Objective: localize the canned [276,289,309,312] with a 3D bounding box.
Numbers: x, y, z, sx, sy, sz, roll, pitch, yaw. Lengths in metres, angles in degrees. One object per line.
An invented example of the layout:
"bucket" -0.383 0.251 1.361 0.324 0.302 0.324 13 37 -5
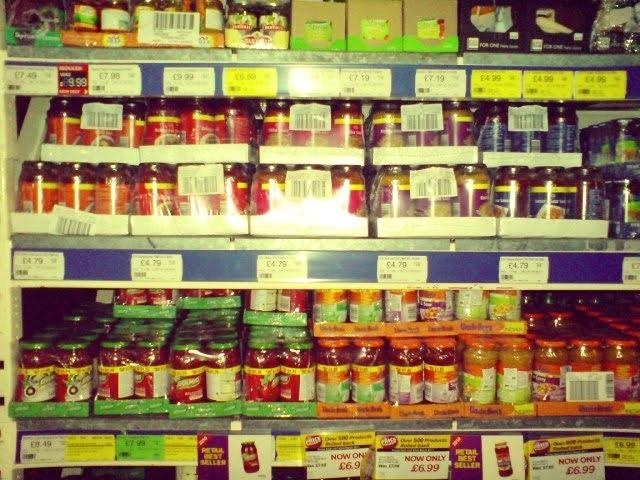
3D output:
"canned" -0.125 0.279 3.286 0.205 0.109 0.116 -2 3 -4

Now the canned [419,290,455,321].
"canned" 0.539 0.294 3.157 0.145 0.131 0.142 2 0 5

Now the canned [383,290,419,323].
"canned" 0.375 0.297 3.229 0.145 0.148 0.141 -1 4 -34

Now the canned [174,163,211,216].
"canned" -0.568 -0.223 3.091 0.154 0.202 0.109 -1 26 -5

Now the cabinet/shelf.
"cabinet/shelf" -0.010 -0.006 3.100 2.290 1.280 0.723 0 -1 -1

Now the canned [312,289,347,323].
"canned" 0.047 0.296 3.147 0.153 0.158 0.149 1 -4 -4

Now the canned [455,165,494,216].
"canned" 0.689 -0.222 3.107 0.136 0.204 0.143 0 26 -1

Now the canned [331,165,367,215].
"canned" 0.130 -0.217 3.135 0.159 0.211 0.197 1 26 0

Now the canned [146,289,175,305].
"canned" -0.737 0.249 3.143 0.085 0.088 0.083 1 -3 -3

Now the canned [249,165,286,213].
"canned" -0.229 -0.230 3.118 0.141 0.190 0.153 1 26 0

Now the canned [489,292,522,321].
"canned" 0.858 0.289 3.188 0.137 0.150 0.138 1 1 25

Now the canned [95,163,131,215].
"canned" -0.929 -0.224 3.073 0.154 0.200 0.127 -5 27 -12

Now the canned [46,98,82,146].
"canned" -1.176 -0.537 3.140 0.171 0.188 0.232 -9 28 -19

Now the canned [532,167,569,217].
"canned" 1.042 -0.212 3.116 0.173 0.201 0.144 6 26 10

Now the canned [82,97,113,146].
"canned" -1.008 -0.516 3.092 0.147 0.184 0.092 -4 26 -10

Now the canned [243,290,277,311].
"canned" -0.272 0.264 3.194 0.110 0.108 0.113 1 1 -24

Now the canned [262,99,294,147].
"canned" -0.200 -0.526 3.144 0.186 0.291 0.182 0 4 -5

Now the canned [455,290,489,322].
"canned" 0.704 0.296 3.169 0.138 0.140 0.137 2 -3 21

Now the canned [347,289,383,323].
"canned" 0.213 0.304 3.215 0.145 0.143 0.153 0 -3 13

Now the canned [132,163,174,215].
"canned" -0.734 -0.226 3.090 0.168 0.202 0.135 -4 26 -9

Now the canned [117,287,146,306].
"canned" -0.875 0.260 3.184 0.093 0.087 0.093 -6 -15 16
